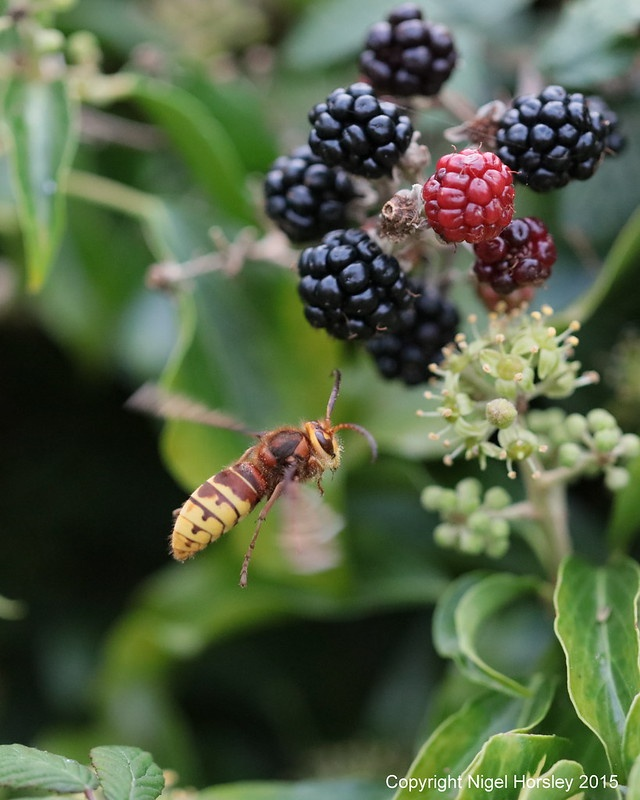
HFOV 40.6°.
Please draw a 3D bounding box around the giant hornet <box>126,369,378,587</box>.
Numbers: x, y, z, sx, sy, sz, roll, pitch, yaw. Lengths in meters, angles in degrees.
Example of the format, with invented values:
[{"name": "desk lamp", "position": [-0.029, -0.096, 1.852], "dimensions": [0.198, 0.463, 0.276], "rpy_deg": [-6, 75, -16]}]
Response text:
[{"name": "giant hornet", "position": [-0.060, 0.092, 1.025], "dimensions": [0.308, 0.116, 0.282], "rpy_deg": [-7, 19, 47]}]
